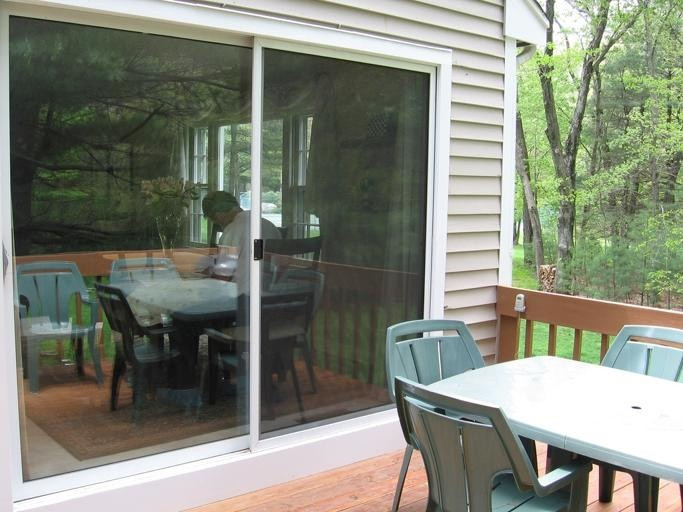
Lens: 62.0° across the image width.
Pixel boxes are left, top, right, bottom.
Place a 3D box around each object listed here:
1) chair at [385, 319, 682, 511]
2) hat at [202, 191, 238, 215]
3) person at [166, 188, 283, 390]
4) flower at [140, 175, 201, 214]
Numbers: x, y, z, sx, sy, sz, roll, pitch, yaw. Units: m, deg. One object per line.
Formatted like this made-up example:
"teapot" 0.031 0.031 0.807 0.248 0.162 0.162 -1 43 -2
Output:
"chair" 0.884 0.747 2.601 0.770 1.042 0.724 -13 18 -33
"hat" -0.662 -0.297 3.106 0.152 0.111 0.110 0 4 -15
"person" -0.525 0.203 3.313 0.467 1.224 0.477 -14 -9 25
"flower" -0.916 -0.350 2.994 0.223 0.155 0.195 -4 14 -26
